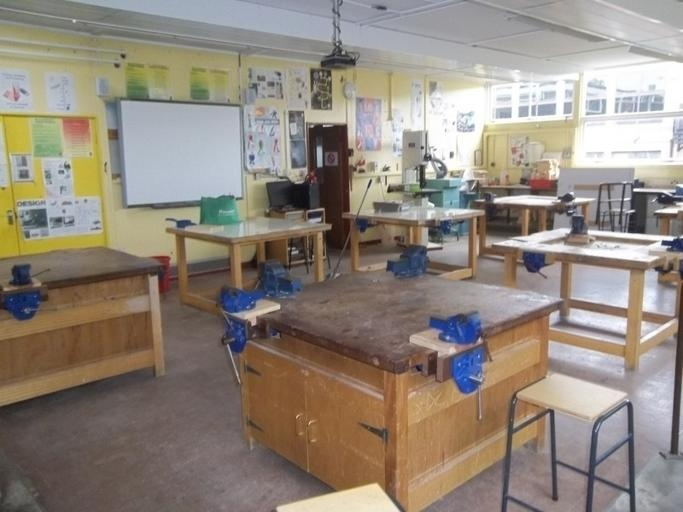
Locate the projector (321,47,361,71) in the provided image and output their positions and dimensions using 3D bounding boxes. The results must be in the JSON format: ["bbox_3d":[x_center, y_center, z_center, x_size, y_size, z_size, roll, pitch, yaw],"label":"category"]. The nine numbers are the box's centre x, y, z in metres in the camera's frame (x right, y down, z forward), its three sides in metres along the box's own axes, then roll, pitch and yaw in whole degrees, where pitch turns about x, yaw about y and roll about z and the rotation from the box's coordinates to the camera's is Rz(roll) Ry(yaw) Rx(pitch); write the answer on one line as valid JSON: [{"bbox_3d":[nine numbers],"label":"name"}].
[{"bbox_3d":[-0.001,-1.642,4.139,0.242,0.191,0.300,12,18,41],"label":"projector"}]

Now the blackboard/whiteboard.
[{"bbox_3d":[-2.315,-1.460,6.968,1.707,1.268,0.224,-6,9,-40],"label":"blackboard/whiteboard"}]

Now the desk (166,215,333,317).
[{"bbox_3d":[-1.215,-0.209,5.928,1.398,0.887,1.418,9,14,43],"label":"desk"}]

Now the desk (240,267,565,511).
[{"bbox_3d":[0.409,0.496,2.991,1.413,0.884,1.399,-9,11,-42],"label":"desk"}]

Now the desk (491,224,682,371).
[{"bbox_3d":[2.395,0.204,4.749,1.445,1.105,1.459,9,14,44],"label":"desk"}]

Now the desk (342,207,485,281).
[{"bbox_3d":[0.830,-0.367,6.713,1.312,0.857,1.331,11,16,44],"label":"desk"}]

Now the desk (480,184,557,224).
[{"bbox_3d":[3.437,-1.253,10.362,0.884,0.807,1.613,-10,15,-34],"label":"desk"}]

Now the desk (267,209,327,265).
[{"bbox_3d":[-0.631,-0.274,6.818,0.390,0.719,0.739,5,11,34],"label":"desk"}]

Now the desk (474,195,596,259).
[{"bbox_3d":[2.947,-0.743,7.709,1.706,1.050,1.688,-15,19,-43],"label":"desk"}]

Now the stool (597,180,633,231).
[{"bbox_3d":[4.507,-0.779,8.290,0.502,0.973,1.608,7,16,29],"label":"stool"}]
